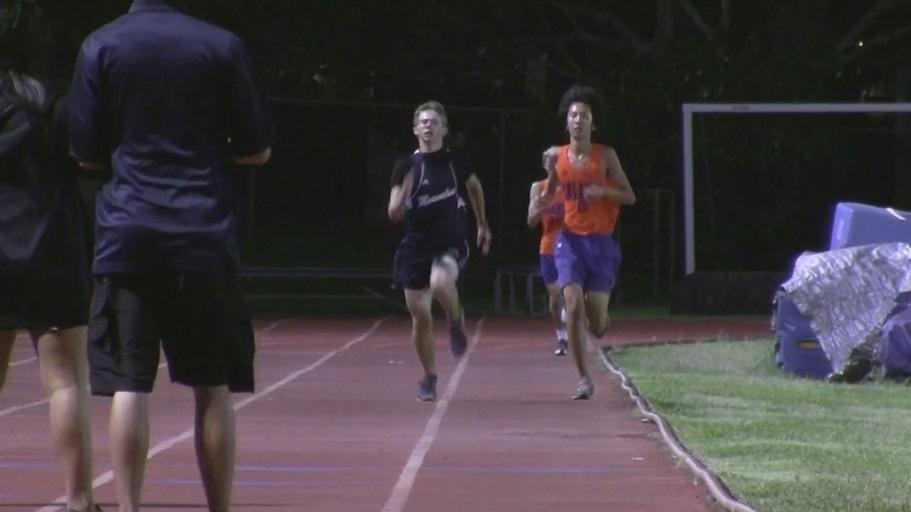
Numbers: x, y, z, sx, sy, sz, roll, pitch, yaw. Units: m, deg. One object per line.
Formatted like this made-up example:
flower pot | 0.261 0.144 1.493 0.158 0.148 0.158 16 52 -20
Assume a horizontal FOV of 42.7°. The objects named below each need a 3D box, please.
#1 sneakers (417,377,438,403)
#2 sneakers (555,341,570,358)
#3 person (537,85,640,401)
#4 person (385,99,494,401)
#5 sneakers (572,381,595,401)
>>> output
sneakers | -0.258 1.202 10.544 0.239 0.290 0.213 4 -5 -1
sneakers | 1.265 1.092 13.922 0.172 0.078 0.218 0 5 2
person | 1.194 -0.144 10.741 0.841 2.880 0.972 1 5 3
person | -0.183 -0.062 10.684 0.628 2.715 0.862 3 6 29
sneakers | 1.189 1.222 10.643 0.224 0.213 0.150 4 6 9
